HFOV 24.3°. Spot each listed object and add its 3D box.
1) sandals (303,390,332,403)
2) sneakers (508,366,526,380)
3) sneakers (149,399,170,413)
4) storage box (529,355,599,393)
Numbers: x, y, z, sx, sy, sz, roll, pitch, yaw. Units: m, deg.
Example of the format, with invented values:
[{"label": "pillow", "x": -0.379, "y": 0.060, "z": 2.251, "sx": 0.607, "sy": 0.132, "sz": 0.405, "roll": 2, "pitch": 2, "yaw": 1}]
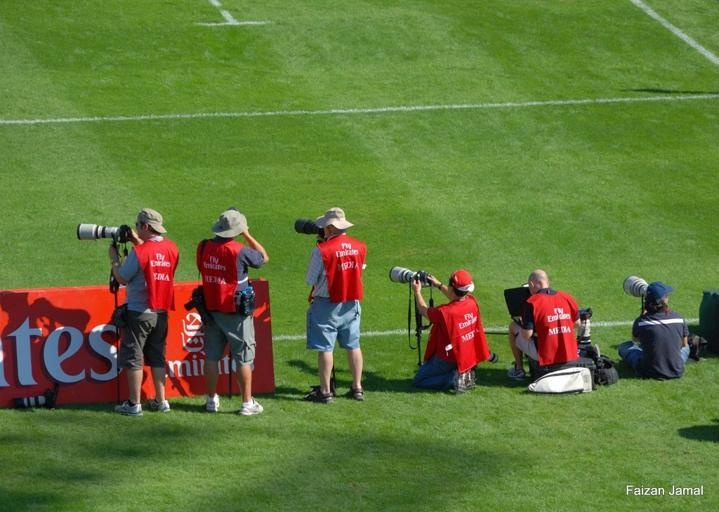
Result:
[{"label": "sandals", "x": -0.886, "y": 3.213, "z": 37.828, "sx": 0.642, "sy": 0.288, "sz": 0.266, "roll": 4, "pitch": 1, "yaw": 13}, {"label": "sneakers", "x": 3.666, "y": 2.730, "z": 38.504, "sx": 0.211, "sy": 0.231, "sz": 0.495, "roll": -5, "pitch": 11, "yaw": -27}, {"label": "sneakers", "x": -4.373, "y": 3.367, "z": 37.265, "sx": 0.507, "sy": 0.224, "sz": 0.212, "roll": 6, "pitch": 8, "yaw": 39}, {"label": "storage box", "x": 4.688, "y": 2.775, "z": 38.506, "sx": 1.747, "sy": 0.730, "sz": 1.192, "roll": -7, "pitch": 4, "yaw": 10}]
